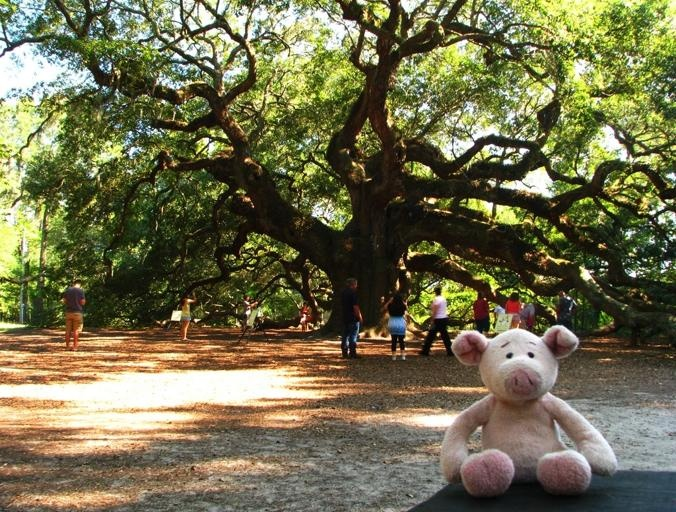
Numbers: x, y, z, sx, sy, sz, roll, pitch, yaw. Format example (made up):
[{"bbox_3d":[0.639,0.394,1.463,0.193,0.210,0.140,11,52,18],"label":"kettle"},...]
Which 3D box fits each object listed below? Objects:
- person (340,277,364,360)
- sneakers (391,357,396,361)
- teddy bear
[{"bbox_3d":[0.291,1.621,16.457,0.537,1.624,0.887,-5,2,-1],"label":"person"},{"bbox_3d":[1.410,2.615,15.949,0.103,0.164,0.096,1,-6,7],"label":"sneakers"},{"bbox_3d":[1.506,1.428,5.770,1.943,1.641,1.354,-1,-16,7],"label":"teddy bear"}]
